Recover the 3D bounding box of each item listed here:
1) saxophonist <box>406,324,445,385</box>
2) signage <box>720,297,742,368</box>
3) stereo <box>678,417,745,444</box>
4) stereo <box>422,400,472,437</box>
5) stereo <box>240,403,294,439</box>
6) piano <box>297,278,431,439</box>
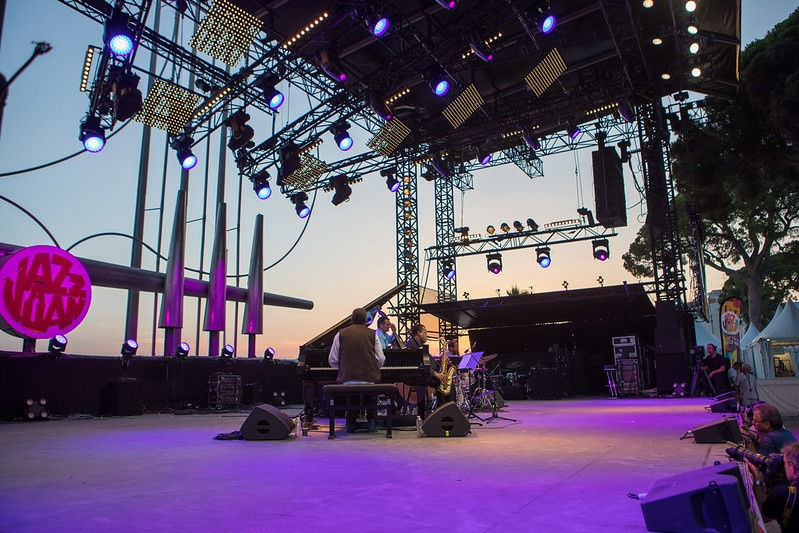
[{"bbox_3d":[0.356,2.144,13.281,0.541,1.741,0.415,-2,3,-22],"label":"saxophonist"},{"bbox_3d":[11.056,2.170,20.059,0.601,2.739,0.032,7,-32,21],"label":"signage"},{"bbox_3d":[5.446,2.737,10.383,0.789,0.367,0.612,-5,-10,20],"label":"stereo"},{"bbox_3d":[0.919,2.954,11.439,0.576,0.480,0.770,-1,-29,0],"label":"stereo"},{"bbox_3d":[-2.541,2.939,11.768,0.809,0.650,1.070,1,-4,0],"label":"stereo"},{"bbox_3d":[-1.005,1.978,12.746,2.366,4.014,2.664,1,-13,1],"label":"piano"}]
